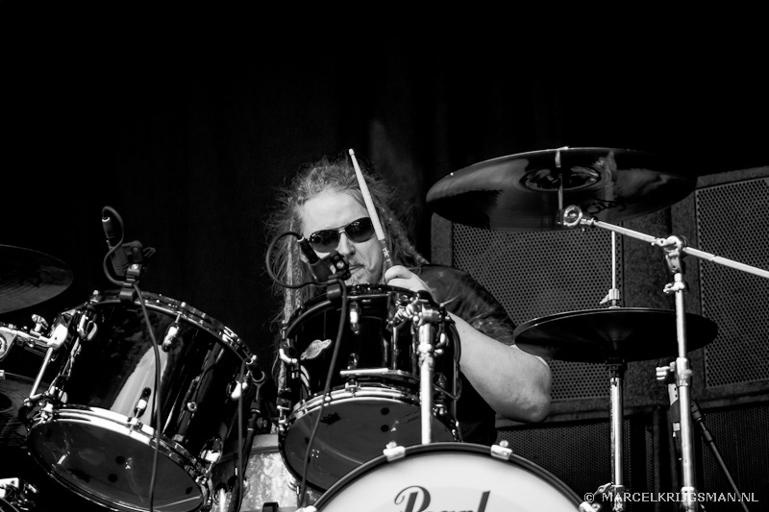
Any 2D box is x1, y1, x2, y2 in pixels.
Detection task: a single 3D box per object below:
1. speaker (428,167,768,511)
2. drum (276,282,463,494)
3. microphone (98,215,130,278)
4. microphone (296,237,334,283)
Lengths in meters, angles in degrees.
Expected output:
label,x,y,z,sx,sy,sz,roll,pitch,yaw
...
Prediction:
label,x,y,z,sx,sy,sz,roll,pitch,yaw
speaker,1.035,0.415,4.537,1.067,1.175,0.992,-19,-33,31
drum,-0.018,0.500,4.240,0.741,0.575,0.822,-29,-51,25
microphone,-1.196,-0.037,4.400,0.163,0.297,0.100,14,22,38
microphone,-0.288,0.008,4.270,0.058,0.062,0.258,-22,-51,17
